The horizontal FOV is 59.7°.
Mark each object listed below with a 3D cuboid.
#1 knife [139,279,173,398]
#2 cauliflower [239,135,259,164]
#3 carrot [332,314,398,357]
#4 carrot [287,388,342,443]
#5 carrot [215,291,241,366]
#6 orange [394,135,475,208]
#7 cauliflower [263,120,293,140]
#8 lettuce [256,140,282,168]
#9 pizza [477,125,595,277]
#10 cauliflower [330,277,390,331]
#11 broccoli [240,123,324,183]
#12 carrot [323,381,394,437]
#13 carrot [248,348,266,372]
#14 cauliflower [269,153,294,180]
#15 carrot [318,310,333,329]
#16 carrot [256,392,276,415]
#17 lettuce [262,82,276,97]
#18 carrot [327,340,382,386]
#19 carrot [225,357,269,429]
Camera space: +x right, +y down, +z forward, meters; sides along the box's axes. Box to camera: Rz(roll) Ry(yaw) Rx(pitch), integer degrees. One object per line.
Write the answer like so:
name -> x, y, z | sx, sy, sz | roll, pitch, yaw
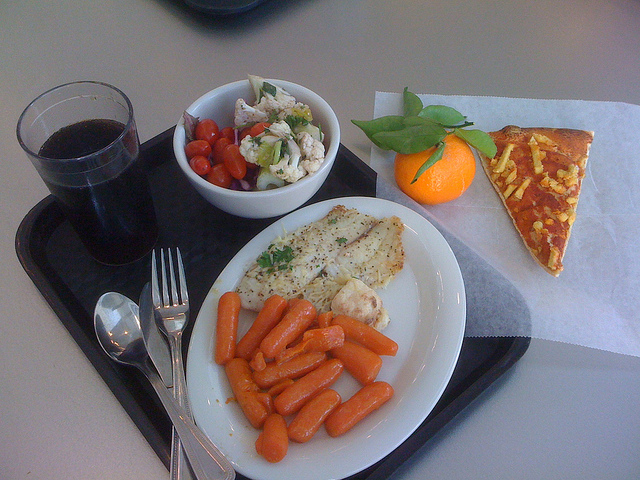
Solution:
knife -> -0.735, 0.467, 2.500 | 0.063, 0.054, 0.506 | -16, 76, -2
cauliflower -> -0.346, -0.443, 2.722 | 0.047, 0.117, 0.097 | -23, 84, 1
carrot -> 0.173, 0.386, 2.545 | 0.117, 0.313, 0.106 | -19, 94, -48
carrot -> -0.032, 0.733, 2.327 | 0.275, 0.061, 0.116 | -41, 76, -20
carrot -> -0.404, 0.400, 2.497 | 0.082, 0.088, 0.314 | 1, 74, 7
orange -> 0.634, -0.410, 3.016 | 0.342, 0.378, 0.383 | 2, 51, 36
cauliflower -> -0.195, -0.540, 2.722 | 0.085, 0.063, 0.038 | 30, 94, 16
lettuce -> -0.254, -0.409, 2.671 | 0.101, 0.049, 0.127 | 4, 92, 4
pizza -> 1.213, -0.297, 3.037 | 0.558, 0.143, 0.861 | 0, 59, 7
cauliflower -> 0.198, 0.314, 2.627 | 0.284, 0.218, 0.087 | 28, 98, 17
broccoli -> -0.216, -0.486, 2.827 | 0.393, 0.469, 0.206 | -15, 91, 5
carrot -> 0.168, 0.711, 2.367 | 0.328, 0.103, 0.129 | -29, 49, -14
carrot -> -0.269, 0.519, 2.399 | 0.052, 0.032, 0.092 | 16, 67, 12
cauliflower -> -0.182, -0.335, 2.650 | 0.082, 0.056, 0.120 | 6, 70, 3
carrot -> 0.027, 0.359, 2.511 | 0.051, 0.025, 0.070 | -10, 83, -19
carrot -> -0.227, 0.685, 2.358 | 0.051, 0.023, 0.099 | -13, 70, -24
lettuce -> -0.260, -0.767, 2.846 | 0.069, 0.017, 0.050 | 32, 69, -21
carrot -> 0.165, 0.526, 2.424 | 0.214, 0.082, 0.123 | 36, 78, 15
carrot -> -0.307, 0.646, 2.380 | 0.106, 0.058, 0.321 | -27, 72, -16
